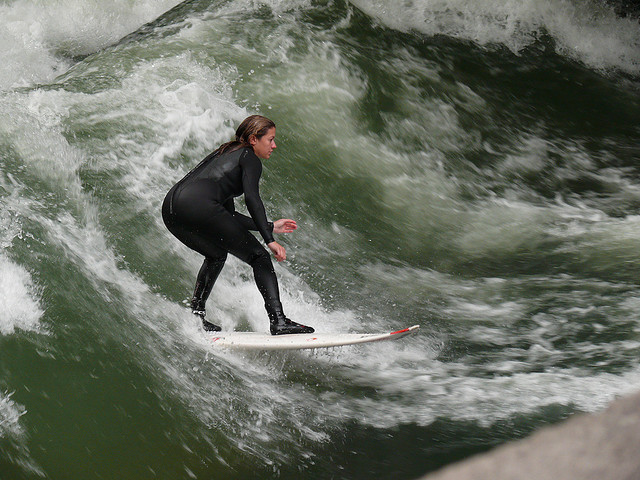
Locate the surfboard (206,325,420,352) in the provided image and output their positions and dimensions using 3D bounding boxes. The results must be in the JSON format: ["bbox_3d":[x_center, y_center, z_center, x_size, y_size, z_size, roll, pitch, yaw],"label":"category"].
[{"bbox_3d":[-0.116,0.913,6.995,1.734,0.119,0.226,-2,-18,15],"label":"surfboard"}]

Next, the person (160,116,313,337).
[{"bbox_3d":[-0.789,-0.037,6.741,1.093,1.959,0.796,-9,27,-7],"label":"person"}]

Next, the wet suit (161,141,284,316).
[{"bbox_3d":[-0.854,-0.077,6.826,0.981,1.512,0.579,-1,27,9],"label":"wet suit"}]
